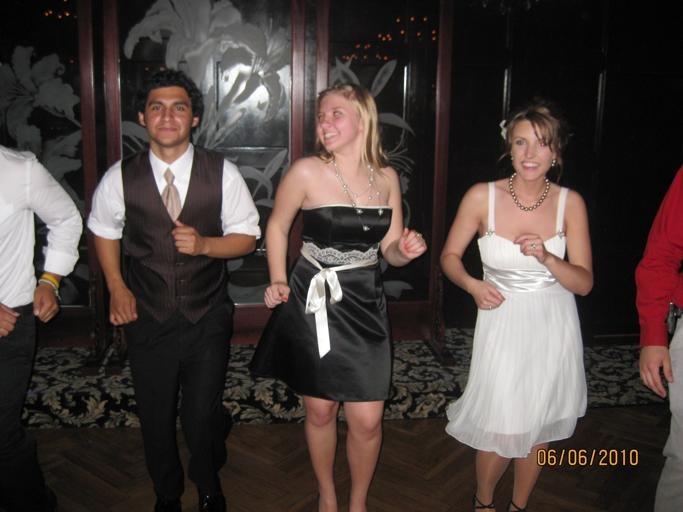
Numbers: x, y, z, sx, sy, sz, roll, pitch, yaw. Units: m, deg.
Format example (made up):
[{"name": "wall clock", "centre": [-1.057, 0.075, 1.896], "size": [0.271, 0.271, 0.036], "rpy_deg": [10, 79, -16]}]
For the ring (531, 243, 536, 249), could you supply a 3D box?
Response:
[{"name": "ring", "centre": [0.811, -0.040, 2.128], "size": [0.023, 0.023, 0.003], "rpy_deg": [1, 8, -2]}]

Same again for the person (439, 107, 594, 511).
[{"name": "person", "centre": [0.834, 0.318, 2.401], "size": [0.643, 2.034, 0.458], "rpy_deg": [-2, 9, -21]}]

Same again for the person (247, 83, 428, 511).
[{"name": "person", "centre": [-0.035, 0.210, 2.425], "size": [0.768, 2.035, 0.488], "rpy_deg": [0, 8, -12]}]

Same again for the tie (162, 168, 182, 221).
[{"name": "tie", "centre": [-0.785, -0.277, 2.332], "size": [0.084, 0.243, 0.071], "rpy_deg": [9, 11, 41]}]

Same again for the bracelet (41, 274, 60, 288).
[{"name": "bracelet", "centre": [-1.325, 0.114, 2.329], "size": [0.063, 0.039, 0.074], "rpy_deg": [25, -21, 18]}]
